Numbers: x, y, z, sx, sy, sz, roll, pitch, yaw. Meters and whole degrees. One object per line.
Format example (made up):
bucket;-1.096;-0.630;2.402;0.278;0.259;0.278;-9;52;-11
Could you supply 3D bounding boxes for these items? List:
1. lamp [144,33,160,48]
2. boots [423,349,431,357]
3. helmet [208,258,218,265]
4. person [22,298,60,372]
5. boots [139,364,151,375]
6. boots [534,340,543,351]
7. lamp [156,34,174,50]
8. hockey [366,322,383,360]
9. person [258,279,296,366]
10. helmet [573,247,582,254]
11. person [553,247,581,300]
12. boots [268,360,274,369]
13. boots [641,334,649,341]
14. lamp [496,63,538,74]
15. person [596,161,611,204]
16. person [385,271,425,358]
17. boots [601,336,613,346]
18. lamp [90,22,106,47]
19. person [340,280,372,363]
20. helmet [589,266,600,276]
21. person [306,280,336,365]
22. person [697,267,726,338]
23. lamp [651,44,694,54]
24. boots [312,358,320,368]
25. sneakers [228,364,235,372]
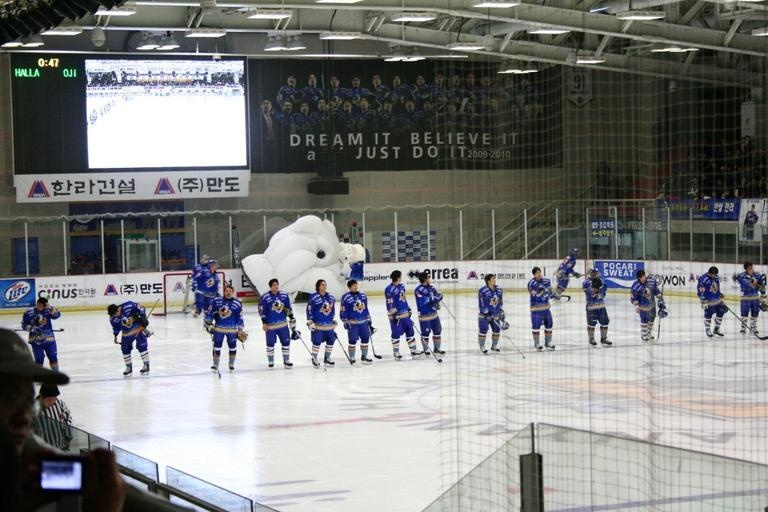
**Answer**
lamp;-6.935;-6.342;35.976;0.560;0.572;0.132;-6;6;1
boots;0.988;2.223;27.652;0.191;0.144;0.271;1;0;-6
helmet;-4.666;0.162;32.875;0.235;0.127;0.320;0;2;-2
person;-7.513;1.821;26.567;0.790;1.866;0.684;-4;13;-12
boots;-5.289;2.503;26.656;0.257;0.259;0.169;5;4;33
boots;3.424;1.990;26.657;0.136;0.100;0.368;1;5;-1
lamp;-6.646;-6.497;36.702;0.735;0.262;0.862;-2;2;-12
hockey;-0.224;2.038;28.345;0.214;0.205;0.912;-6;-35;10
person;-2.364;1.498;27.109;0.820;1.980;0.846;-2;2;-6
helmet;4.326;-0.122;27.108;0.163;0.146;0.198;-5;2;-5
person;3.959;0.413;25.933;0.533;1.130;0.479;-2;19;-33
boots;-2.517;2.426;26.996;0.162;0.209;0.486;0;-4;-3
boots;5.852;1.844;27.066;0.212;0.103;0.302;0;0;0
lamp;2.143;-2.970;19.216;0.658;0.165;0.160;-2;2;-6
person;3.629;-1.283;19.887;0.233;0.552;0.880;-1;2;11
person;0.421;1.322;27.839;0.717;2.017;1.578;-2;2;1
boots;4.991;1.910;26.930;0.168;0.199;0.422;1;-4;-21
lamp;-8.213;-6.296;34.723;0.324;0.481;4.317;-2;2;-13
person;-0.600;1.485;27.286;0.733;1.896;0.703;-2;2;-2
helmet;4.720;0.339;27.012;0.215;0.217;0.178;-13;16;-8
person;-1.383;1.497;27.128;0.649;1.916;0.816;-2;2;-4
person;7.744;1.053;28.487;0.651;1.656;1.078;-1;2;11
lamp;4.871;-3.474;20.312;0.519;0.123;0.915;1;3;45
boots;-1.522;2.401;27.093;0.126;0.168;0.241;0;-2;-34
sneakers;-3.384;2.495;26.870;0.124;0.178;0.379;1;7;-3
